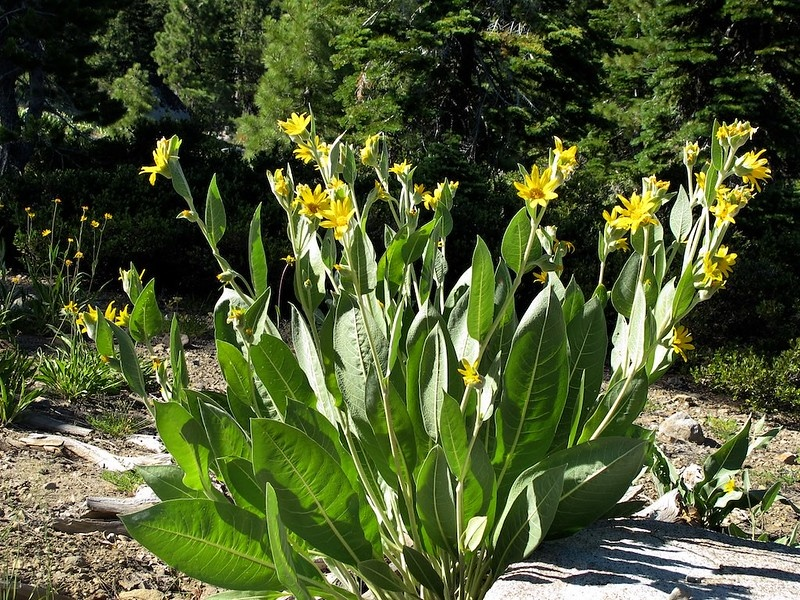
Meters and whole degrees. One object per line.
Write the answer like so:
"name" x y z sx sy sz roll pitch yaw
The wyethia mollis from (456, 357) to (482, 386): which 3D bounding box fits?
"wyethia mollis" 0.386 0.419 5.329 0.064 0.169 0.144 -15 -33 34
